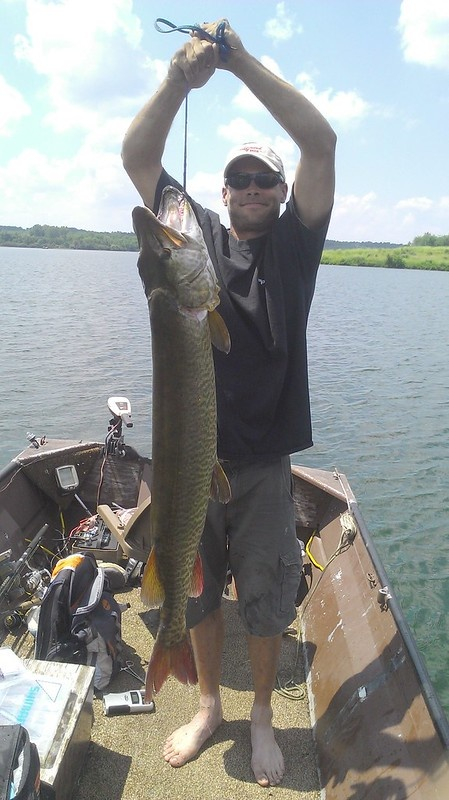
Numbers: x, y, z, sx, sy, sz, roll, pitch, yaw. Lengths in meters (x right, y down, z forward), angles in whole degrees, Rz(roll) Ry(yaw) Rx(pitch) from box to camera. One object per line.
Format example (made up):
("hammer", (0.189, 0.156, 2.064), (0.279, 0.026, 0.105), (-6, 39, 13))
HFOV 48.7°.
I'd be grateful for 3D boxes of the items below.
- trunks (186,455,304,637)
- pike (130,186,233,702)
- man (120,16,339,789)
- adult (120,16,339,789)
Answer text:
("trunks", (0.097, 0.630, 2.383), (0.455, 0.902, 0.698), (3, 15, -16))
("pike", (-0.150, 0.194, 1.652), (0.228, 1.748, 0.402), (7, 10, 40))
("man", (0.061, 0.237, 2.555), (0.920, 3.422, 0.814), (0, 14, 4))
("adult", (0.051, 0.080, 2.080), (0.803, 2.986, 0.721), (-1, -3, 41))
